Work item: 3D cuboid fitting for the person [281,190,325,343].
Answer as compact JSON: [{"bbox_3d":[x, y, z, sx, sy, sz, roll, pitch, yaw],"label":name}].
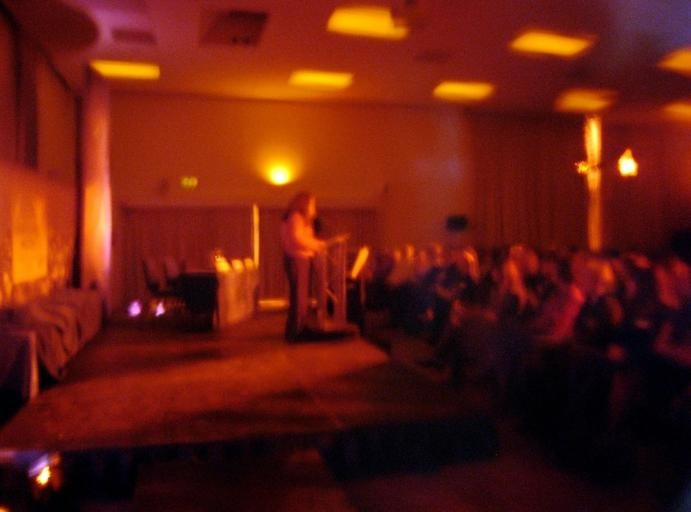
[{"bbox_3d":[-0.349,0.096,4.991,0.363,1.272,0.160,-2,8,-7],"label":"person"}]
